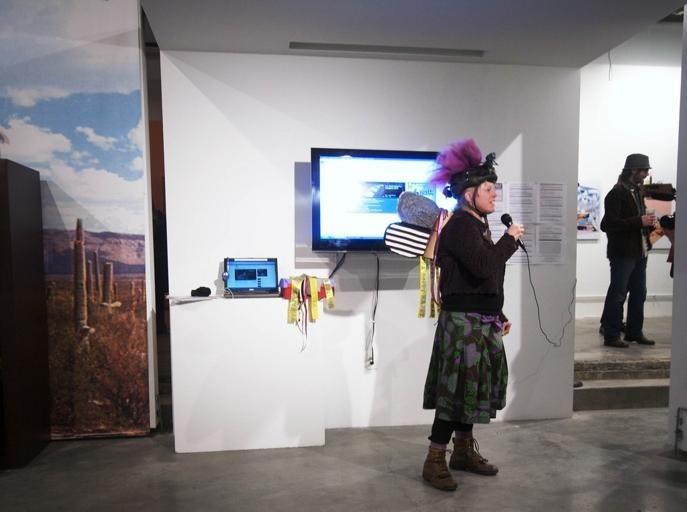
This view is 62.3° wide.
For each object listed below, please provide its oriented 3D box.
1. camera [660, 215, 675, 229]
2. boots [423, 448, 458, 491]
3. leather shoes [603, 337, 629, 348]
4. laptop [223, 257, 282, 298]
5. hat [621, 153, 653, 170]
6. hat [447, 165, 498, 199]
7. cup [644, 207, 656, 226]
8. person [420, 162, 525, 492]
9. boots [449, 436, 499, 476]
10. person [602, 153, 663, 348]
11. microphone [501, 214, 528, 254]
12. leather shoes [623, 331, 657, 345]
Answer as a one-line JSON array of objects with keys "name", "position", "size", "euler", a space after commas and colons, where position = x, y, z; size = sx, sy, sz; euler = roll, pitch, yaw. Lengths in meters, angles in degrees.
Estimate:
[{"name": "camera", "position": [3.474, -0.360, 6.084], "size": [0.128, 0.139, 0.306], "euler": [1, 4, 27]}, {"name": "boots", "position": [0.702, 1.557, 4.187], "size": [0.131, 0.249, 0.362], "euler": [8, -6, -21]}, {"name": "leather shoes", "position": [3.029, 0.958, 6.299], "size": [0.260, 0.120, 0.107], "euler": [-2, -2, 28]}, {"name": "laptop", "position": [-0.784, 0.180, 4.829], "size": [0.548, 0.396, 0.289], "euler": [0, -2, -3]}, {"name": "hat", "position": [3.334, -1.056, 6.473], "size": [0.215, 0.145, 0.251], "euler": [-9, 9, -34]}, {"name": "hat", "position": [0.966, -0.554, 4.256], "size": [0.267, 0.119, 0.247], "euler": [-28, 1, 28]}, {"name": "cup", "position": [3.428, -0.433, 6.338], "size": [0.091, 0.183, 0.354], "euler": [1, 4, 29]}, {"name": "person", "position": [0.925, 0.509, 4.179], "size": [0.662, 2.374, 0.380], "euler": [1, 3, 16]}, {"name": "boots", "position": [1.002, 1.548, 4.390], "size": [0.390, 0.258, 0.136], "euler": [-7, -25, 38]}, {"name": "person", "position": [3.225, -0.085, 6.437], "size": [0.599, 2.145, 0.572], "euler": [0, 3, 6]}, {"name": "microphone", "position": [1.370, -0.176, 4.561], "size": [0.111, 0.124, 0.415], "euler": [0, 44, -29]}, {"name": "leather shoes", "position": [3.357, 0.928, 6.464], "size": [0.359, 0.163, 0.126], "euler": [0, 0, 26]}]
